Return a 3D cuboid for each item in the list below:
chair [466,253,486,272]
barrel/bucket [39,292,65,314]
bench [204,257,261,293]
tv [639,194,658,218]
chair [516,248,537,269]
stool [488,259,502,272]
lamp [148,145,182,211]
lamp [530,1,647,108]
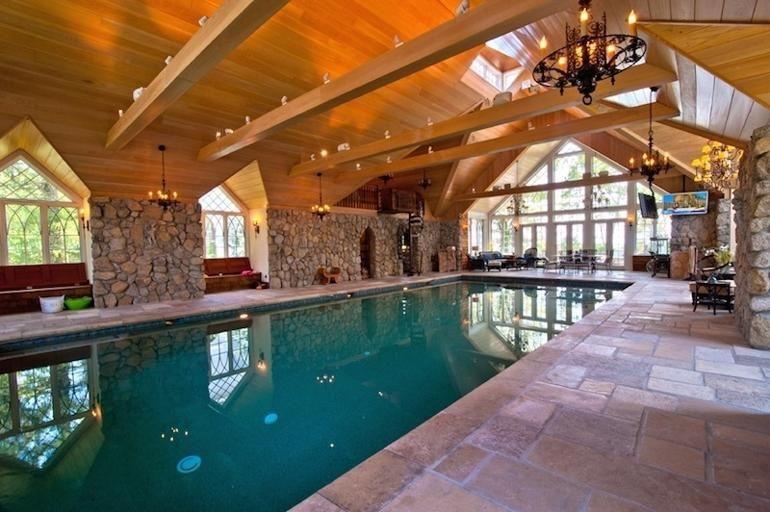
[{"bbox_3d":[3.890,0.283,18.810,0.562,0.623,0.683,1,-2,-40],"label":"chair"},{"bbox_3d":[-7.478,1.084,10.185,0.405,0.353,0.433,-1,-4,0],"label":"barrel/bucket"},{"bbox_3d":[-4.793,0.483,13.853,1.506,0.888,0.830,-5,8,-29],"label":"bench"},{"bbox_3d":[8.001,-1.597,13.830,0.828,0.784,0.213,5,-14,-23],"label":"tv"},{"bbox_3d":[6.065,0.079,18.934,0.840,0.932,0.726,2,-6,-29],"label":"chair"},{"bbox_3d":[4.630,0.366,19.127,0.583,0.432,0.427,-1,-3,6],"label":"stool"},{"bbox_3d":[-5.307,-1.828,10.841,0.704,1.493,1.505,-6,9,-26],"label":"lamp"},{"bbox_3d":[3.036,-3.054,6.718,1.327,1.546,1.732,3,9,26],"label":"lamp"}]
